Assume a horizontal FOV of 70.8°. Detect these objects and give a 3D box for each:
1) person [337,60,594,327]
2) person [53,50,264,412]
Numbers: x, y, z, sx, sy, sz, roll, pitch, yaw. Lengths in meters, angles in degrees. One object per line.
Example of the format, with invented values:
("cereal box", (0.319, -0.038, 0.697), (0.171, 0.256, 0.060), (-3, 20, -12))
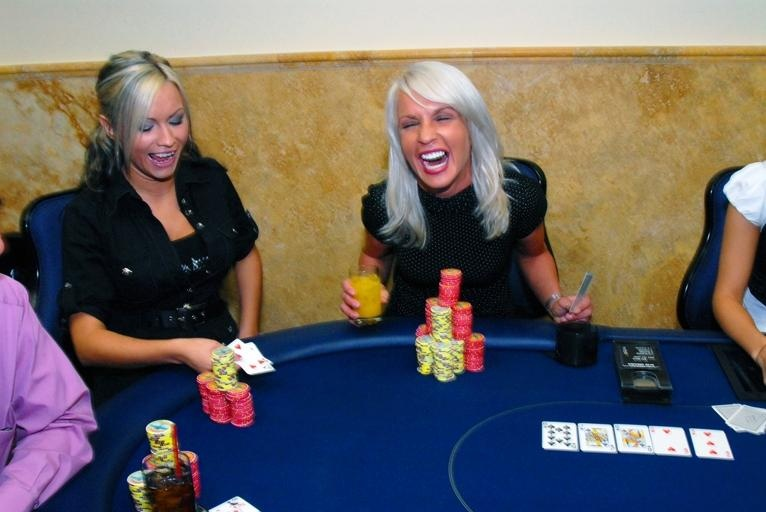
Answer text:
("person", (0.377, -0.060, 2.613), (0.788, 1.533, 0.722), (0, 12, 5))
("person", (-0.952, -0.107, 2.346), (0.792, 1.729, 0.758), (-11, 15, -38))
